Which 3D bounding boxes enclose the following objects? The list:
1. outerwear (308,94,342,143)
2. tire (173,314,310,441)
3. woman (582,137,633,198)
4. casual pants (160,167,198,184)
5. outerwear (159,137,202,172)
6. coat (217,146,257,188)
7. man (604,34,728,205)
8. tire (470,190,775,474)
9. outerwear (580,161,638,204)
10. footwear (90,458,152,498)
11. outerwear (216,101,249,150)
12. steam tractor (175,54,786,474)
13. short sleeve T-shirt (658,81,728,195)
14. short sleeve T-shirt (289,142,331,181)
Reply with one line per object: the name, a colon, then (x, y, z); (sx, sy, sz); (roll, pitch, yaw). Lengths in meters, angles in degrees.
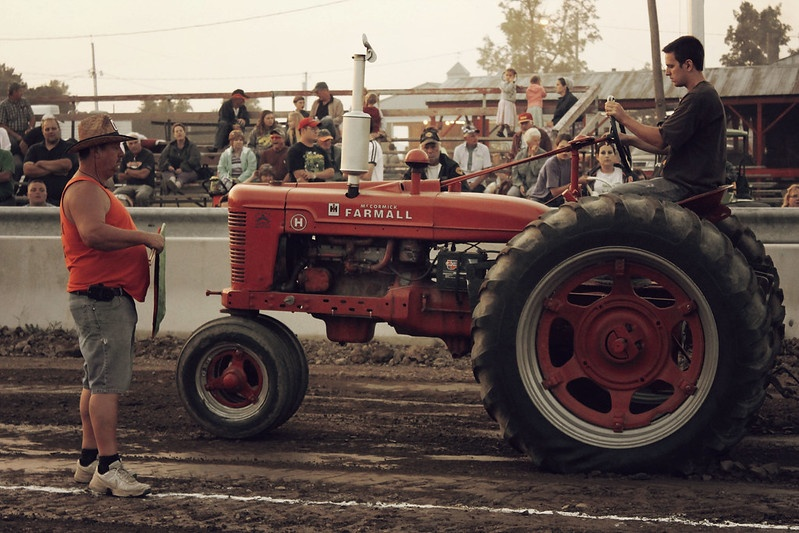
outerwear: (-1.192, -2.465, 28.161); (0.544, 0.706, 0.534); (2, 40, -11)
tire: (-1.847, 1.351, 20.650); (1.211, 1.243, 0.655); (13, 2, 5)
woman: (2.711, -1.191, 23.082); (0.678, 0.997, 0.517); (-5, -10, 9)
casual pants: (-3.528, -1.500, 28.266); (0.456, 0.159, 0.273); (-3, 0, -3)
outerwear: (-3.510, -1.833, 28.477); (0.691, 0.580, 0.424); (-1, -5, 19)
coat: (-2.487, -1.566, 27.012); (0.558, 0.739, 0.517); (0, -1, 9)
man: (3.061, -1.514, 20.519); (1.432, 2.399, 1.230); (-1, 1, -9)
tire: (2.476, 0.786, 19.824); (3.070, 3.161, 1.028); (-2, -1, 9)
outerwear: (2.651, -1.205, 22.862); (0.481, 0.690, 0.312); (-15, -4, 19)
footwear: (-3.108, 2.394, 19.575); (0.777, 0.413, 0.297); (2, -4, 6)
outerwear: (-2.859, -2.405, 29.111); (0.541, 0.825, 0.422); (17, -2, 4)
steam tractor: (1.425, 0.083, 22.088); (7.155, 4.740, 3.982); (3, 2, 11)
short sleeve T-shirt: (3.433, -1.631, 20.425); (0.657, 1.213, 1.210); (6, 14, 20)
short sleeve T-shirt: (-1.246, -1.464, 23.812); (0.721, 0.563, 0.354); (-9, 7, -44)
